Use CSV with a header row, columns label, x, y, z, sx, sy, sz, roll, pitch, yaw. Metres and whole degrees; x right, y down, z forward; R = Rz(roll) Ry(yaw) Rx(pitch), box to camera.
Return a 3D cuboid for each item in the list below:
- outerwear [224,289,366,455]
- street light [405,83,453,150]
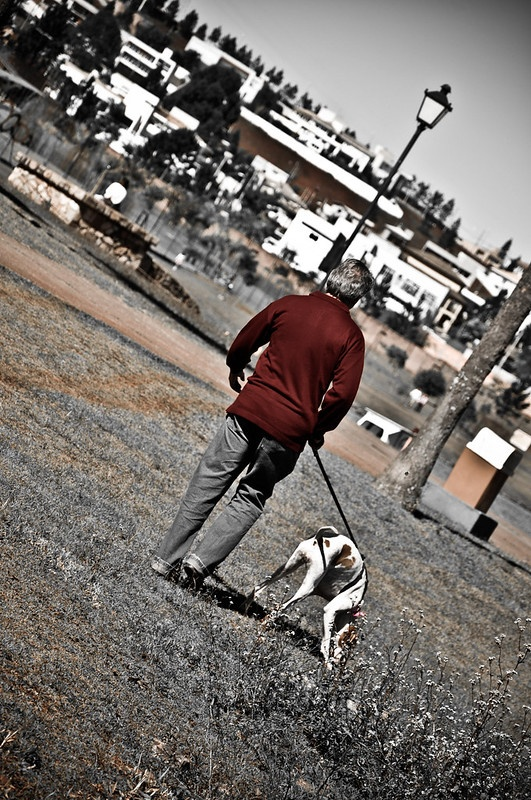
label,x,y,z,sx,sy,sz,roll,pitch,yaw
outerwear,0.166,-0.186,5.031,0.675,0.895,0.343,32,3,1
street light,2.698,-4.748,15.763,0.603,0.869,0.487,37,35,1
